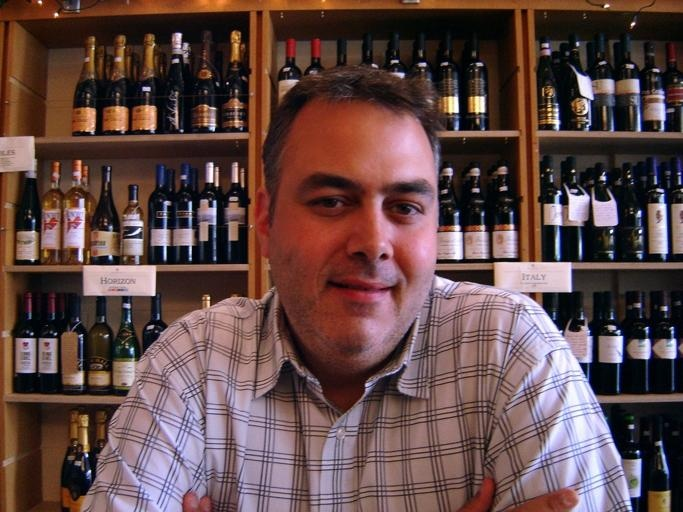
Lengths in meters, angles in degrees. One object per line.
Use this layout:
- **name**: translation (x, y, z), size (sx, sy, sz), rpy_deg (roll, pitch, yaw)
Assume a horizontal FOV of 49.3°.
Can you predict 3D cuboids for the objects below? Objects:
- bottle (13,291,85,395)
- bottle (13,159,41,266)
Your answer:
- **bottle**: translation (-1.174, 0.351, 3.029), size (0.289, 0.399, 0.168), rpy_deg (-1, -5, -6)
- **bottle**: translation (-1.283, -0.155, 3.057), size (0.101, 0.387, 0.128), rpy_deg (1, -5, -23)
